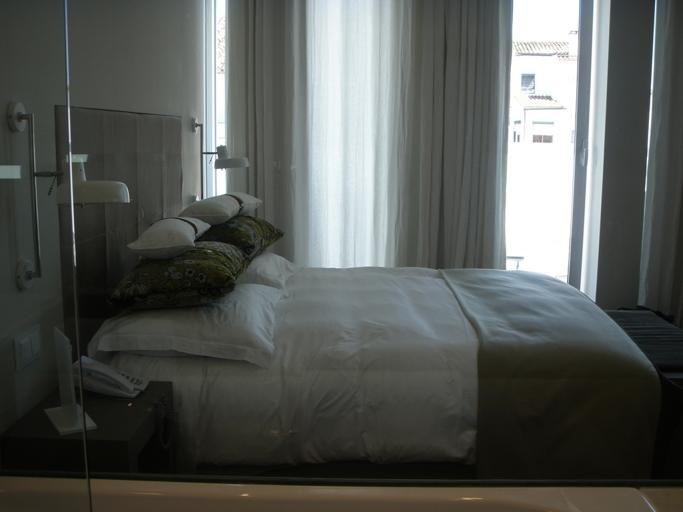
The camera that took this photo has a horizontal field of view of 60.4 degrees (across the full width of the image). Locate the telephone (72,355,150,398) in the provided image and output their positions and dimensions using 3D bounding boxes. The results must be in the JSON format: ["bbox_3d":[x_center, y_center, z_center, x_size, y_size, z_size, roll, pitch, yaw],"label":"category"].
[{"bbox_3d":[-0.586,0.309,1.509,0.165,0.072,0.104,19,8,-13],"label":"telephone"}]
